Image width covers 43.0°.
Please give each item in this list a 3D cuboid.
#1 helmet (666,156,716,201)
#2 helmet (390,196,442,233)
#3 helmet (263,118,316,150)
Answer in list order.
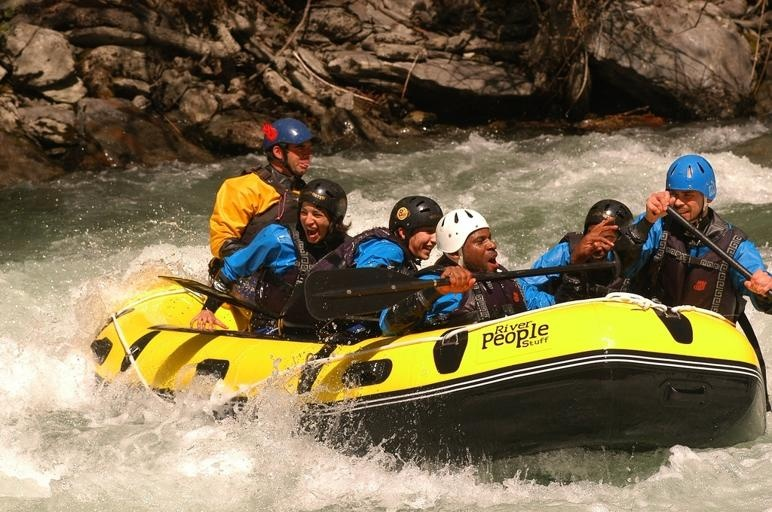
[{"bbox_3d":[3.185,-0.820,10.083,0.437,0.513,0.430,4,44,26],"label":"helmet"},{"bbox_3d":[0.288,-0.447,10.193,0.489,0.352,0.393,-31,-13,26],"label":"helmet"},{"bbox_3d":[-1.165,-1.414,11.262,0.519,0.221,0.349,-8,7,12],"label":"helmet"}]
